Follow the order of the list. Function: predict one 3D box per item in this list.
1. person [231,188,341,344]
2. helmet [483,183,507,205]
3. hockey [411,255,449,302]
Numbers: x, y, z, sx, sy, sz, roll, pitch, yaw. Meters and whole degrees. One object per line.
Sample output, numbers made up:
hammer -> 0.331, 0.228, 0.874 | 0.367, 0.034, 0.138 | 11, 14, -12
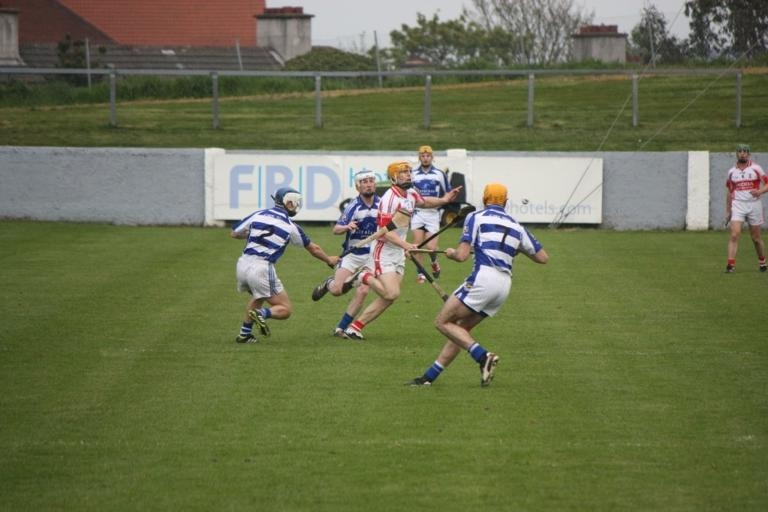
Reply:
person -> -2.348, 0.201, 27.337 | 1.376, 3.198, 1.224 | -5, 8, -44
helmet -> 2.208, -1.189, 25.683 | 0.399, 0.409, 0.460 | 5, 28, -1
hockey -> 1.083, 0.588, 30.692 | 0.227, 1.353, 0.188 | -46, 4, 16
